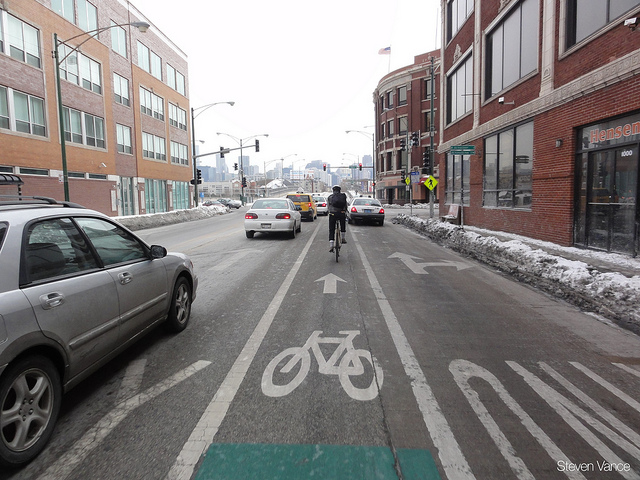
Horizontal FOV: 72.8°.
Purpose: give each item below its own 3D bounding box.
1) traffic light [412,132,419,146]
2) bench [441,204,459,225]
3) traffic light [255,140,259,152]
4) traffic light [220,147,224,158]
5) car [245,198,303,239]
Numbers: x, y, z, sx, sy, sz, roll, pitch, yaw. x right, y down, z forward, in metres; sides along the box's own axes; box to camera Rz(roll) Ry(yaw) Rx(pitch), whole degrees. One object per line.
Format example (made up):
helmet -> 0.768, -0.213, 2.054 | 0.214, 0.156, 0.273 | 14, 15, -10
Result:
traffic light -> 5.995, -6.305, 27.217 | 0.317, 0.810, 0.595 | 0, 9, 2
bench -> 7.029, -1.362, 23.388 | 0.651, 1.259, 1.206 | 1, 4, -10
traffic light -> -6.497, -9.716, 44.668 | 0.236, 1.079, 0.611 | 1, 9, 5
traffic light -> -9.221, -8.300, 40.851 | 0.222, 0.766, 1.410 | -3, 10, -17
car -> -1.850, -0.972, 18.264 | 1.959, 1.796, 3.712 | 2, 5, 1
